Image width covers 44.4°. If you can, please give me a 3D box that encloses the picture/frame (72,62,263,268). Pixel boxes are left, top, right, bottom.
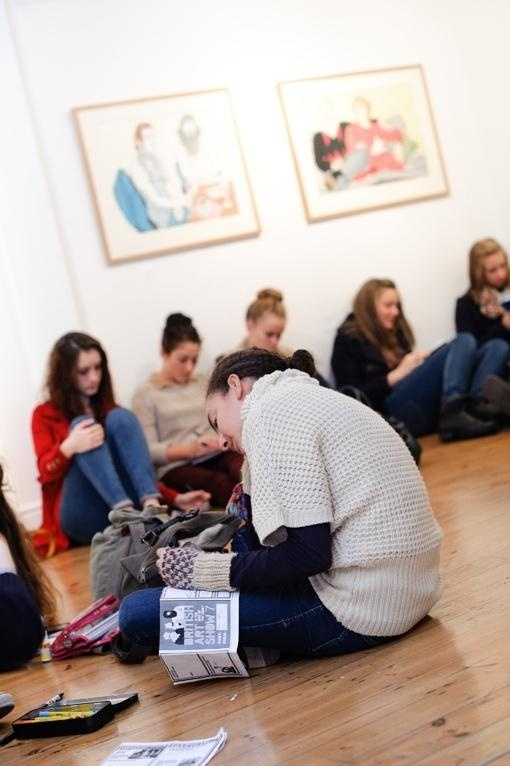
[{"bbox_3d":[-0.524,-1.200,3.419,1.194,1.058,0.062,-14,12,-6],"label":"picture/frame"}]

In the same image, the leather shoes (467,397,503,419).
[{"bbox_3d":[1.160,0.123,3.135,0.045,0.093,0.129,-36,29,-21],"label":"leather shoes"}]

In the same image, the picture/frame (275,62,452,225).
[{"bbox_3d":[0.611,-1.459,3.775,0.956,0.792,0.097,-15,3,-11],"label":"picture/frame"}]

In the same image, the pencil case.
[{"bbox_3d":[-0.339,0.607,1.135,0.195,0.061,0.094,-16,-4,24],"label":"pencil case"}]
